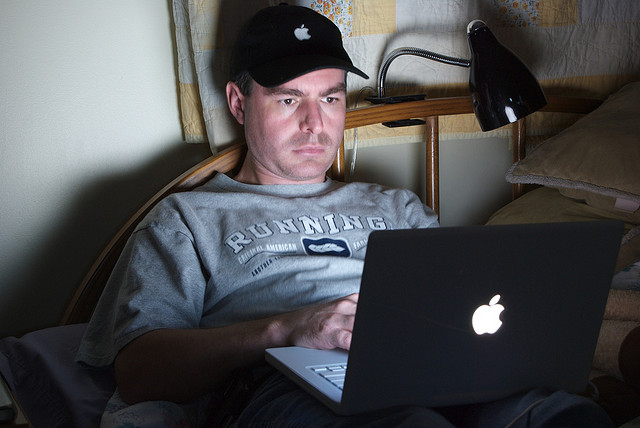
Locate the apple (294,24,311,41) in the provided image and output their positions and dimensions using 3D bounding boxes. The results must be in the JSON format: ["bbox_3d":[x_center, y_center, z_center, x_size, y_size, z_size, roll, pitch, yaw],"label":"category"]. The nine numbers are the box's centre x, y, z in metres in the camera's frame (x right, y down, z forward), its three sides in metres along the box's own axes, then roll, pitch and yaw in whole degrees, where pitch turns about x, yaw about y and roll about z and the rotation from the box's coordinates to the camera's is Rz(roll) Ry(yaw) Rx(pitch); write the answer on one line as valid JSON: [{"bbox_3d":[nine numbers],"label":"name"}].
[{"bbox_3d":[-0.057,-0.567,1.587,0.047,0.043,0.030,-6,25,-7],"label":"apple"}]

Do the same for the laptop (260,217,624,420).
[{"bbox_3d":[0.300,0.207,1.064,0.550,0.358,0.464,0,4,-20],"label":"laptop"}]

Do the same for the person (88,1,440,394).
[{"bbox_3d":[-0.233,-0.067,1.521,1.112,1.056,0.647,-3,8,-37],"label":"person"}]
